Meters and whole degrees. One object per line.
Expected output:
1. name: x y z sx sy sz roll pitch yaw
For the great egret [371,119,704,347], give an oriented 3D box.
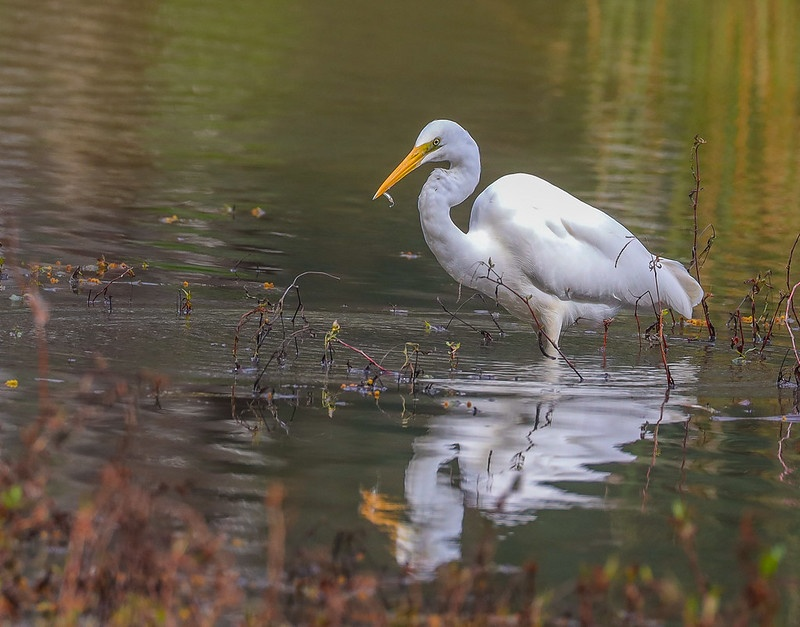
1. great egret: 1.014 -0.464 6.596 2.740 1.679 0.836 -2 7 -30
